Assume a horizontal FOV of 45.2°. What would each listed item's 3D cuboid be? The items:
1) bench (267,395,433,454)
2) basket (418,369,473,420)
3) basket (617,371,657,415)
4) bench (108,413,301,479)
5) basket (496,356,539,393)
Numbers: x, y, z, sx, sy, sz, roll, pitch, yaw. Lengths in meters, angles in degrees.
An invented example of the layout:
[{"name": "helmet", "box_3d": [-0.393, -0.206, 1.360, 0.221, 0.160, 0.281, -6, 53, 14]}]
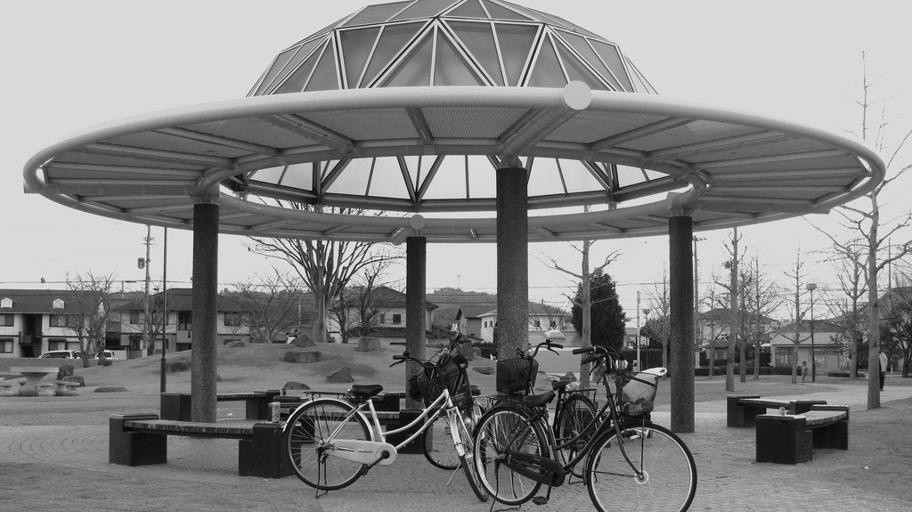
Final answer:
[{"name": "bench", "box_3d": [-2.789, 4.719, 30.675, 3.757, 2.171, 1.814, 0, -2, 5]}, {"name": "basket", "box_3d": [-0.308, 3.791, 29.563, 1.399, 1.003, 1.155, -9, -2, 16]}, {"name": "basket", "box_3d": [4.827, 3.642, 28.794, 1.100, 1.026, 0.934, 1, -5, 14]}, {"name": "bench", "box_3d": [-7.364, 5.374, 30.938, 5.366, 1.735, 0.838, -2, -7, 16]}, {"name": "basket", "box_3d": [1.624, 3.228, 29.637, 0.531, 0.854, 1.148, 8, 9, 39]}]
